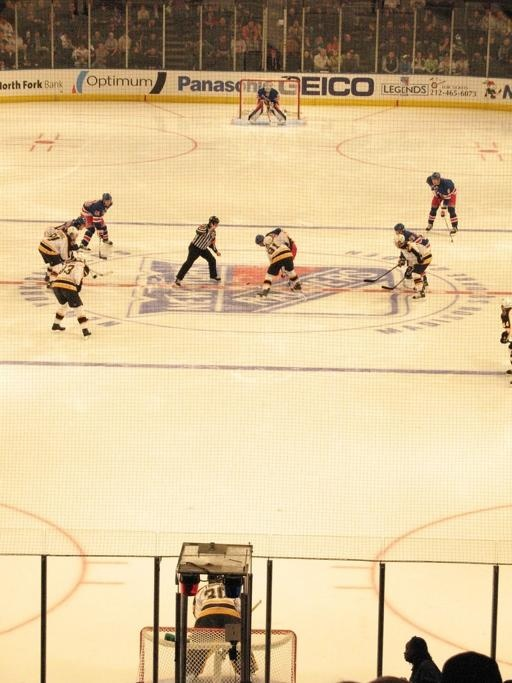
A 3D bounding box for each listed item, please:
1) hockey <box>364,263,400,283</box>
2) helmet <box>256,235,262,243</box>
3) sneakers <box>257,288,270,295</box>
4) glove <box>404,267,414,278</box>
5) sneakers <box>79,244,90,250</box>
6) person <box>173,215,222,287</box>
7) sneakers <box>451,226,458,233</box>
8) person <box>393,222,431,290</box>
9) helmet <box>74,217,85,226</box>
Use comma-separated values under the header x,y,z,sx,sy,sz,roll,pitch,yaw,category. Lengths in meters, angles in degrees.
x,y,z,sx,sy,sz,roll,pitch,yaw,category
1.346,-0.709,12.172,0.447,0.048,0.143,-23,39,-36,hockey
0.042,-1.031,11.528,0.090,0.083,0.102,1,-10,2,helmet
0.082,-0.509,11.602,0.094,0.053,0.145,1,-2,4,sneakers
1.545,-0.700,11.550,0.083,0.105,0.034,16,-18,32,glove
-1.889,-1.039,12.753,0.129,0.039,0.084,2,-19,-27,sneakers
-0.592,-0.947,11.868,0.459,0.745,0.939,1,-6,-3,person
2.312,-1.308,13.398,0.062,0.037,0.161,0,12,6,sneakers
1.599,-0.848,11.623,0.354,0.713,0.288,7,35,30,person
-1.708,-1.188,11.193,0.086,0.087,0.103,-5,-32,-8,helmet
